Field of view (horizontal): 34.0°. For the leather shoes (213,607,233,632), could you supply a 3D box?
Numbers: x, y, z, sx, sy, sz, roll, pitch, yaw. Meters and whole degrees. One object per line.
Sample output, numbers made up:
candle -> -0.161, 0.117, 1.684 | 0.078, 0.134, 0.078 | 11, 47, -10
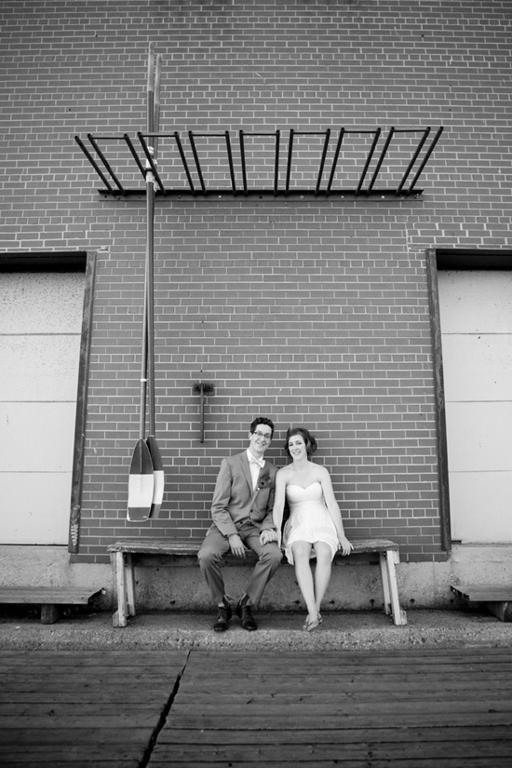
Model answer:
leather shoes -> -0.208, 1.548, 5.471 | 0.085, 0.115, 0.266 | -2, -14, 6

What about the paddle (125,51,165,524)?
paddle -> -0.681, -0.436, 5.406 | 0.103, 2.666, 0.286 | 0, -4, 20

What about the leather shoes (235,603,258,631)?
leather shoes -> -0.056, 1.527, 5.532 | 0.138, 0.167, 0.322 | 0, 8, -2

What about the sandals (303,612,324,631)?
sandals -> 0.374, 1.560, 5.417 | 0.049, 0.082, 0.150 | -3, -25, -11
